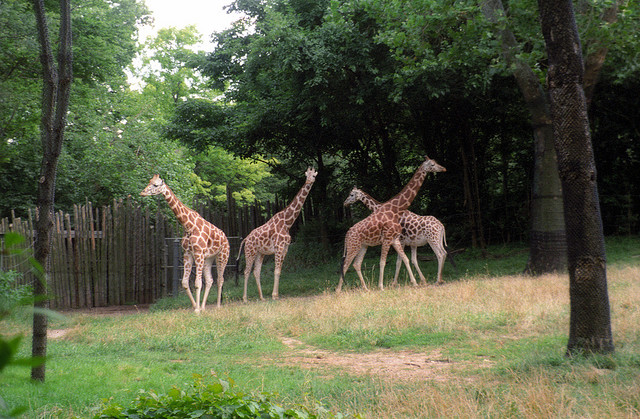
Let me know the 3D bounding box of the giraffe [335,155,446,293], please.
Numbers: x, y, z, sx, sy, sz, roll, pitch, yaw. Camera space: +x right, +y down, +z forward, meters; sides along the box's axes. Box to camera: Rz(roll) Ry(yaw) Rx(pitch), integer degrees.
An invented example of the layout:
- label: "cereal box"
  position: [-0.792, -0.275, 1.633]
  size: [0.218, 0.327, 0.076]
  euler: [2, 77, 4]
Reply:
- label: "giraffe"
  position: [1.893, 0.504, 17.507]
  size: [3.070, 3.619, 1.725]
  euler: [-8, 9, -27]

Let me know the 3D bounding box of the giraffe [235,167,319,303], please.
- label: "giraffe"
  position: [-1.324, 0.717, 18.108]
  size: [2.759, 3.798, 4.071]
  euler: [-4, 8, -1]

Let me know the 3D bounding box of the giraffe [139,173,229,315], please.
- label: "giraffe"
  position: [-3.279, 0.840, 16.077]
  size: [1.893, 3.735, 1.945]
  euler: [-10, 10, -35]
